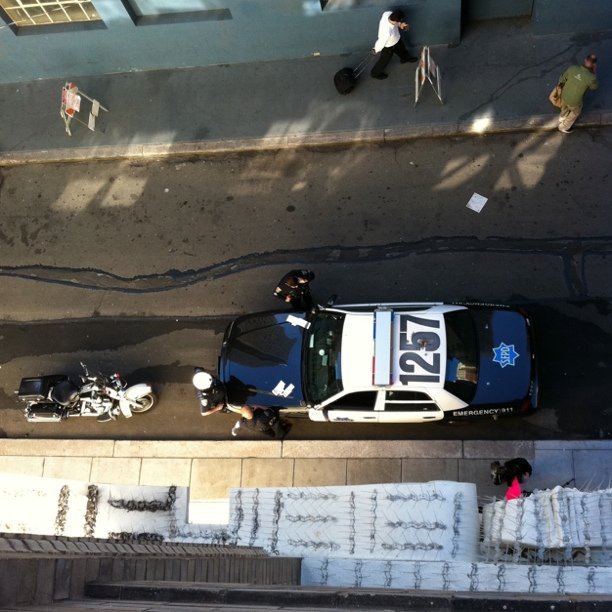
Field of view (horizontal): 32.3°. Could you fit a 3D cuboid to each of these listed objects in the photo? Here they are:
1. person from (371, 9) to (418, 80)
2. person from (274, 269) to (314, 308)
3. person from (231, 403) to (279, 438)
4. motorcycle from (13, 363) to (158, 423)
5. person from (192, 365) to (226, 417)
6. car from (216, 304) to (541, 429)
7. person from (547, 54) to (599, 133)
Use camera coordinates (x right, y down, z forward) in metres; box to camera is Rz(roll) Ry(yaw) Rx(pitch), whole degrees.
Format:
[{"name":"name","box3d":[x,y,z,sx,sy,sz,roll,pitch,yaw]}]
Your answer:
[{"name":"person","box3d":[1.533,-4.857,19.559,1.232,0.658,1.723,-1,-5,10]},{"name":"person","box3d":[-0.181,-0.349,18.561,0.655,0.728,0.596,3,-13,-11]},{"name":"person","box3d":[-1.000,1.965,18.292,0.744,0.284,0.584,1,-30,43]},{"name":"motorcycle","box3d":[-4.033,1.709,19.400,2.700,0.868,1.386,-2,-11,1]},{"name":"person","box3d":[-1.675,1.514,18.372,0.622,0.794,0.986,-6,-6,1]},{"name":"car","box3d":[1.231,0.925,18.169,5.559,1.827,1.550,-2,-16,8]},{"name":"person","box3d":[4.773,-3.778,18.851,0.757,0.539,1.535,30,-39,23]}]
